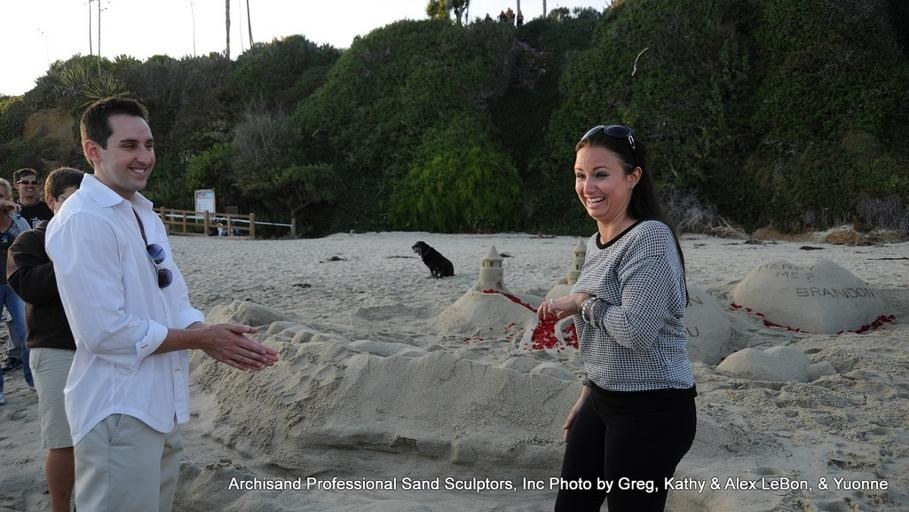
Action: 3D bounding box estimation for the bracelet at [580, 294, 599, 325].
[{"bbox_3d":[1.978,0.803,10.692,0.318,0.368,0.143,-7,16,9],"label":"bracelet"}]
